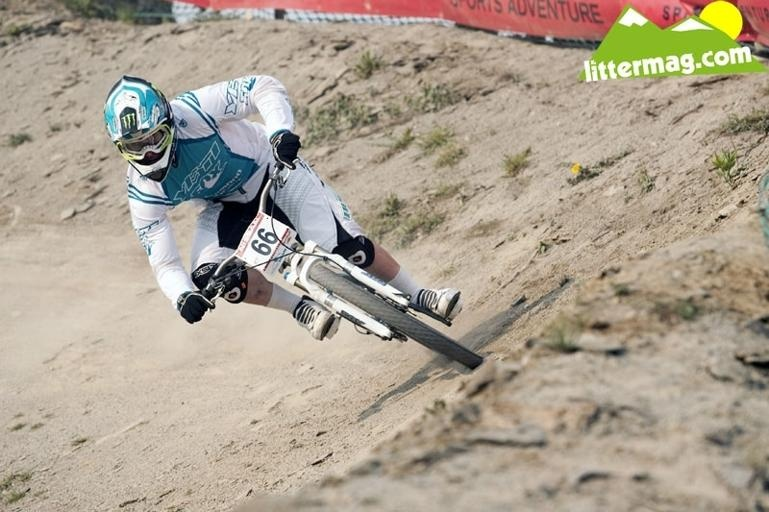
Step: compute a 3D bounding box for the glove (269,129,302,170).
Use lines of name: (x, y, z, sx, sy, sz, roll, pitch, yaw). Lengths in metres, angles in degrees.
glove: (-1.244, -1.321, 13.772, 0.386, 0.214, 0.463, 1, 72, 1)
